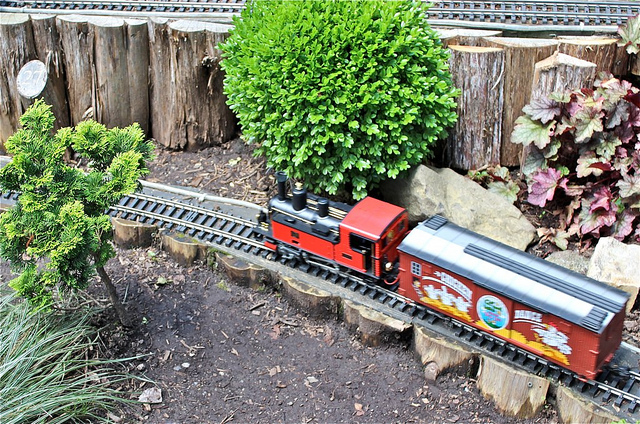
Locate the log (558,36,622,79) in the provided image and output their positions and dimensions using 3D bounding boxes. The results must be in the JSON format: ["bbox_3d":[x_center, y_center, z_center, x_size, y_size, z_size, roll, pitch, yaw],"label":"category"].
[{"bbox_3d":[5.840,-3.370,11.794,1.431,0.712,0.800,6,30,14],"label":"log"}]

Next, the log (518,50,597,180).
[{"bbox_3d":[5.523,-2.476,12.517,1.564,3.279,1.080,23,74,29],"label":"log"}]

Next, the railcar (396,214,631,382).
[{"bbox_3d":[3.523,1.460,10.383,3.719,2.457,4.155,1,-12,-2],"label":"railcar"}]

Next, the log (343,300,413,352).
[{"bbox_3d":[1.128,2.126,10.209,1.653,0.768,1.016,6,-15,-32],"label":"log"}]
